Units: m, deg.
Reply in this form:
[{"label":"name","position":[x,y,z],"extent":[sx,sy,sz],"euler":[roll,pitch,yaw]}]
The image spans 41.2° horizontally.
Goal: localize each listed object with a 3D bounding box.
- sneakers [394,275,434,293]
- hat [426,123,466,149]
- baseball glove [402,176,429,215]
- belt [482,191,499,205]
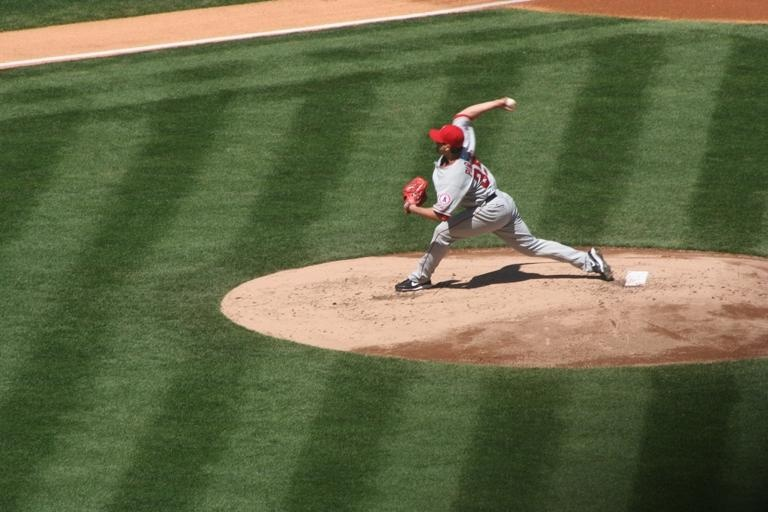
[{"label":"sneakers","position":[0.399,0.414,14.445],"extent":[0.618,0.160,0.191],"euler":[0,4,-9]},{"label":"hat","position":[0.896,-1.638,14.047],"extent":[0.557,0.248,0.301],"euler":[22,43,1]},{"label":"baseball glove","position":[0.425,-0.862,14.095],"extent":[0.328,0.390,0.349],"euler":[-7,42,1]},{"label":"belt","position":[1.464,-0.796,14.193],"extent":[0.207,0.172,0.118],"euler":[-20,75,-32]}]
